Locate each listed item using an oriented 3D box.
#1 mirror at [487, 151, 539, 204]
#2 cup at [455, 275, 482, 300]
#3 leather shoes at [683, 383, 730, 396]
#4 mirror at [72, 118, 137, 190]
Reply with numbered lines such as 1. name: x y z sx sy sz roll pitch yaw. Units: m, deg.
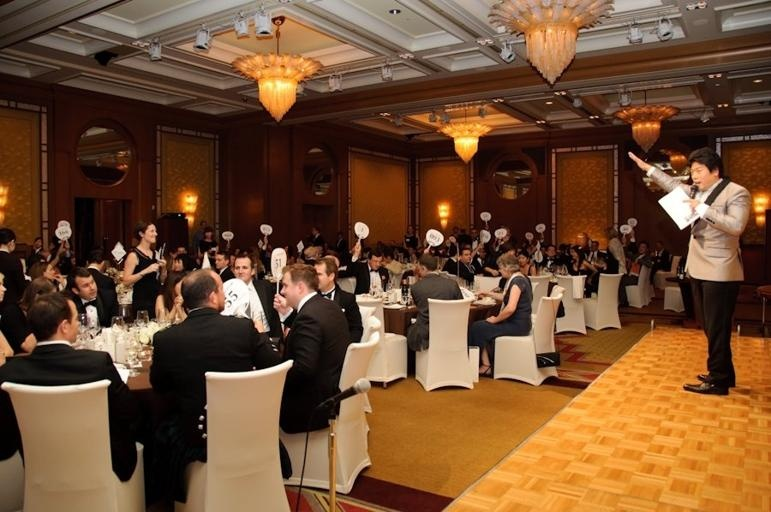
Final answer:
1. mirror: 4.141 -2.630 17.993 1.509 1.850 0.195 10 28 24
2. cup: 1.181 0.495 8.248 0.393 0.360 0.299 0 2 27
3. leather shoes: 3.858 1.608 6.644 0.493 0.199 0.173 2 -2 28
4. mirror: -8.212 -2.899 15.998 1.086 1.552 1.783 -10 17 -34
